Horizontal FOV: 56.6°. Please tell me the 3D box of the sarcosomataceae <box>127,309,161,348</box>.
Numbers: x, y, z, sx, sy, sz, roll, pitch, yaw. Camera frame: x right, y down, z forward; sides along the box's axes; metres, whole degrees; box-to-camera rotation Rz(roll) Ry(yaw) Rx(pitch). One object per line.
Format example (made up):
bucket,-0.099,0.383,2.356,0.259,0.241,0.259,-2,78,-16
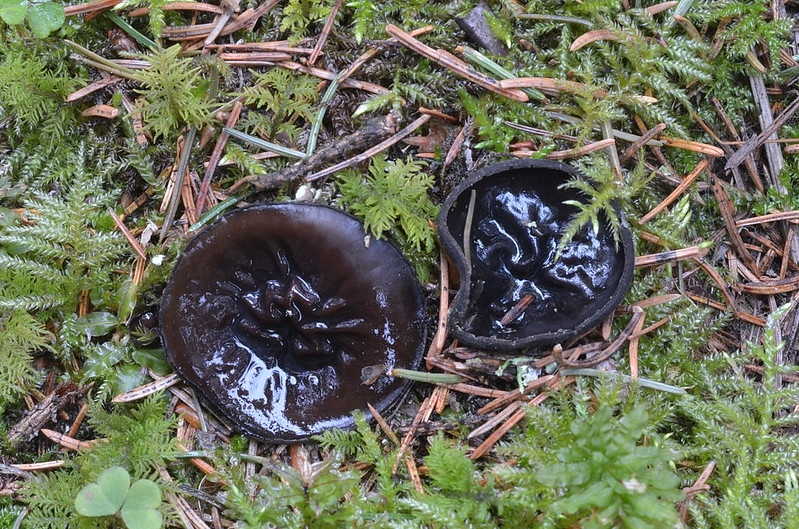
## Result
sarcosomataceae,-1.403,0.352,4.082,0.178,0.066,0.203,-4,89,-4
